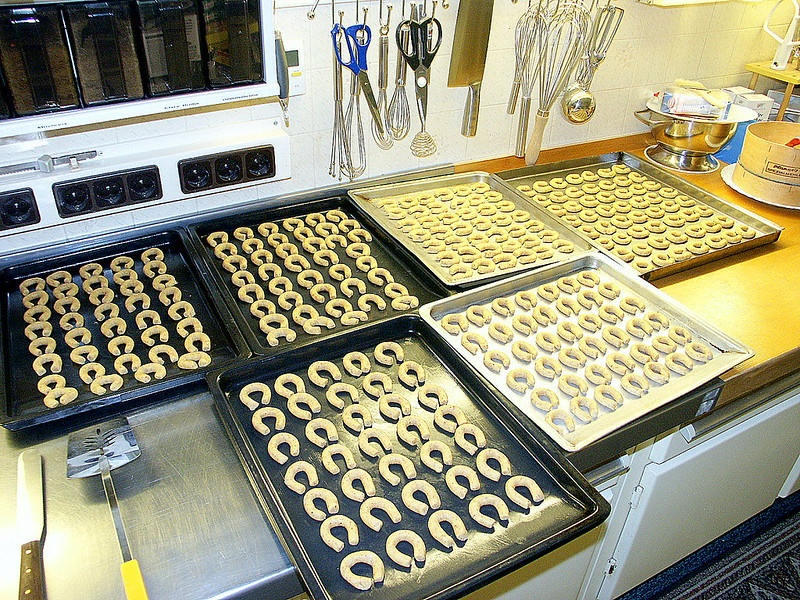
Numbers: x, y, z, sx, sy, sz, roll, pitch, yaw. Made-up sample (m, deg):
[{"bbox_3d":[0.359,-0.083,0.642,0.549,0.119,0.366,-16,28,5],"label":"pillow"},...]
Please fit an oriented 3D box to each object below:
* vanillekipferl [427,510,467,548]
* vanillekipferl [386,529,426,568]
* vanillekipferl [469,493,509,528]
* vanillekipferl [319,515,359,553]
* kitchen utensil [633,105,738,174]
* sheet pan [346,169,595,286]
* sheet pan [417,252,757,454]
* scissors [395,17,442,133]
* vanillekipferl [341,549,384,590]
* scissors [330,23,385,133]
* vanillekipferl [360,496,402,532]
[{"bbox_3d":[0.095,0.445,1.163,0.058,0.020,0.065,-23,54,-35],"label":"vanillekipferl"},{"bbox_3d":[0.013,0.475,1.138,0.075,0.024,0.068,1,37,1],"label":"vanillekipferl"},{"bbox_3d":[0.178,0.421,1.193,0.065,0.026,0.075,-28,46,-32],"label":"vanillekipferl"},{"bbox_3d":[-0.116,0.449,1.157,0.070,0.026,0.066,-16,40,-21],"label":"vanillekipferl"},{"bbox_3d":[1.117,-0.597,2.315,0.403,0.175,0.274,1,11,-23],"label":"kitchen utensil"},{"bbox_3d":[0.226,-0.233,1.891,0.510,0.055,0.469,-15,44,-28],"label":"sheet pan"},{"bbox_3d":[0.454,0.100,1.532,0.561,0.055,0.490,-23,48,-28],"label":"sheet pan"},{"bbox_3d":[0.069,-0.663,1.783,0.178,0.327,0.022,13,23,43],"label":"scissors"},{"bbox_3d":[-0.067,0.500,1.106,0.077,0.023,0.068,-13,39,-17],"label":"vanillekipferl"},{"bbox_3d":[-0.110,-0.635,1.691,0.044,0.162,0.276,-10,75,-27],"label":"scissors"},{"bbox_3d":[-0.041,0.424,1.189,0.071,0.022,0.072,-22,43,-27],"label":"vanillekipferl"}]
